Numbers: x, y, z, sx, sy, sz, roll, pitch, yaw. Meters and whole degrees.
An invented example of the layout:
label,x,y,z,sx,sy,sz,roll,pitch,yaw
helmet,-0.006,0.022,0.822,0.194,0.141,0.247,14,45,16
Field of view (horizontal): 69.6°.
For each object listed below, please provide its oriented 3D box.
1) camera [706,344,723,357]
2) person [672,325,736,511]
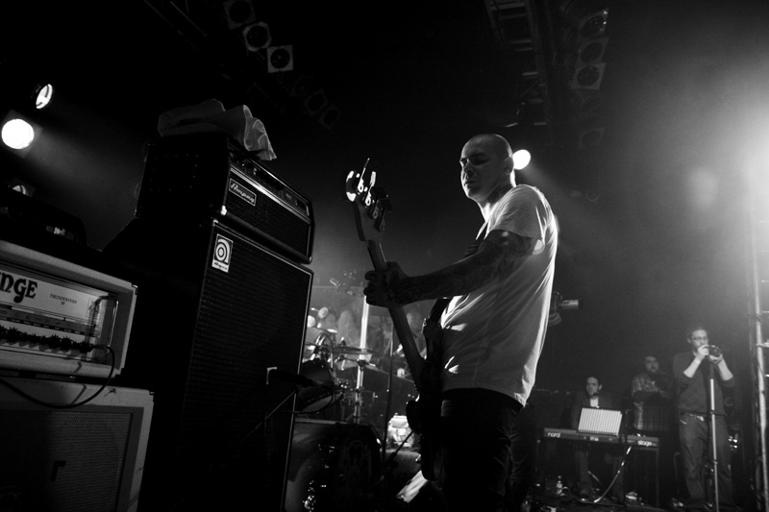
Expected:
label,x,y,z,sx,sy,sz,roll,pitch,yaw
camera,4.348,1.246,7.279,0.143,0.162,0.268,9,-4,42
person,4.217,2.053,7.152,0.645,2.313,0.956,3,-24,7
